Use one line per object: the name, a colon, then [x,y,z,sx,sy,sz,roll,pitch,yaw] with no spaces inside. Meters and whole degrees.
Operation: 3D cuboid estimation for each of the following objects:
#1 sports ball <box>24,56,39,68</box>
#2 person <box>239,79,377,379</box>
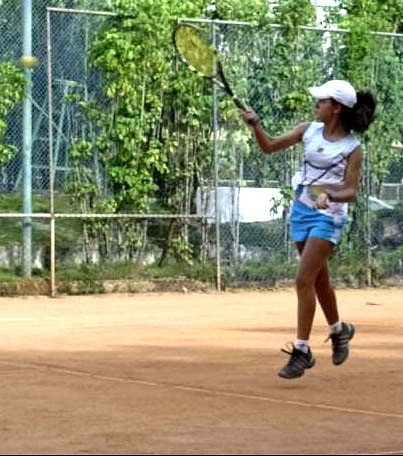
sports ball: [-1.827,-1.781,11.343,0.114,0.107,0.122,0,8,0]
person: [0.720,-0.002,6.771,0.751,1.885,0.585,-1,-2,19]
